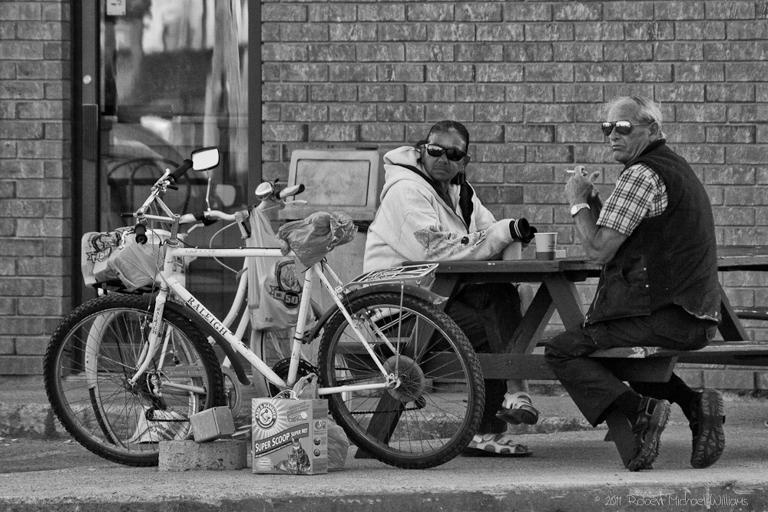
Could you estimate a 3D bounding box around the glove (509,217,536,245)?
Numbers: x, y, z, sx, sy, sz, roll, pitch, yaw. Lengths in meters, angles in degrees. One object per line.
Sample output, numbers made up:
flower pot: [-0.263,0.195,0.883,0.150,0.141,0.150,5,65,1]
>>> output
glove: [1.006,-0.183,12.996,0.189,0.205,0.239,1,7,4]

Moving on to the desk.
desk: [1.671,0.490,14.587,4.156,2.092,1.739,0,0,3]

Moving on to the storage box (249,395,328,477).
storage box: [-0.652,1.257,12.572,0.516,0.529,0.208,-1,7,-8]

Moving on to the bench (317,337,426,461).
bench: [-0.033,1.032,12.841,0.819,0.936,0.474,2,7,12]

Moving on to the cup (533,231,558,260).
cup: [1.161,-0.076,12.861,0.175,0.179,0.176,1,-10,0]

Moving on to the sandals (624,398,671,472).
sandals: [1.822,1.217,12.534,0.216,0.569,0.259,2,15,-30]

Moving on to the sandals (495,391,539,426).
sandals: [0.946,1.085,12.854,0.153,0.158,0.394,-3,1,-8]

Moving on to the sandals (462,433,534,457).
sandals: [0.855,1.390,13.376,0.519,0.203,0.199,0,-4,3]
